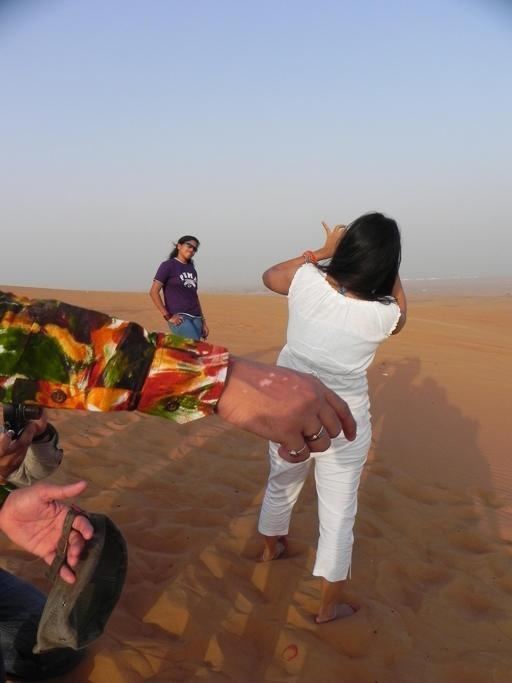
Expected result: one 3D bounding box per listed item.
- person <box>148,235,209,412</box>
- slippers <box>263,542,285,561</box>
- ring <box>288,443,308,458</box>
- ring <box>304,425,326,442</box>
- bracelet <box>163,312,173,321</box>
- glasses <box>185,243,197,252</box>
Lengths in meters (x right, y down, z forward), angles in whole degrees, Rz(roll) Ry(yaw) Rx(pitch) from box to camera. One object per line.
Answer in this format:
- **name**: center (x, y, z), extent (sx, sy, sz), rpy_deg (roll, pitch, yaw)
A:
- **person**: center (-0.835, -0.293, 5.846), extent (0.626, 1.727, 0.733), rpy_deg (6, 10, 34)
- **slippers**: center (0.110, 1.336, 3.275), extent (0.052, 0.134, 0.100), rpy_deg (-9, 10, 18)
- **ring**: center (0.099, 0.247, 1.188), extent (0.033, 0.017, 0.038), rpy_deg (-4, 19, -19)
- **ring**: center (0.136, 0.216, 1.188), extent (0.039, 0.041, 0.023), rpy_deg (-15, -31, 21)
- **bracelet**: center (-0.974, -0.284, 5.776), extent (0.102, 0.069, 0.077), rpy_deg (-22, 23, -29)
- **glasses**: center (-0.712, -1.035, 5.660), extent (0.105, 0.101, 0.203), rpy_deg (3, 9, -9)
